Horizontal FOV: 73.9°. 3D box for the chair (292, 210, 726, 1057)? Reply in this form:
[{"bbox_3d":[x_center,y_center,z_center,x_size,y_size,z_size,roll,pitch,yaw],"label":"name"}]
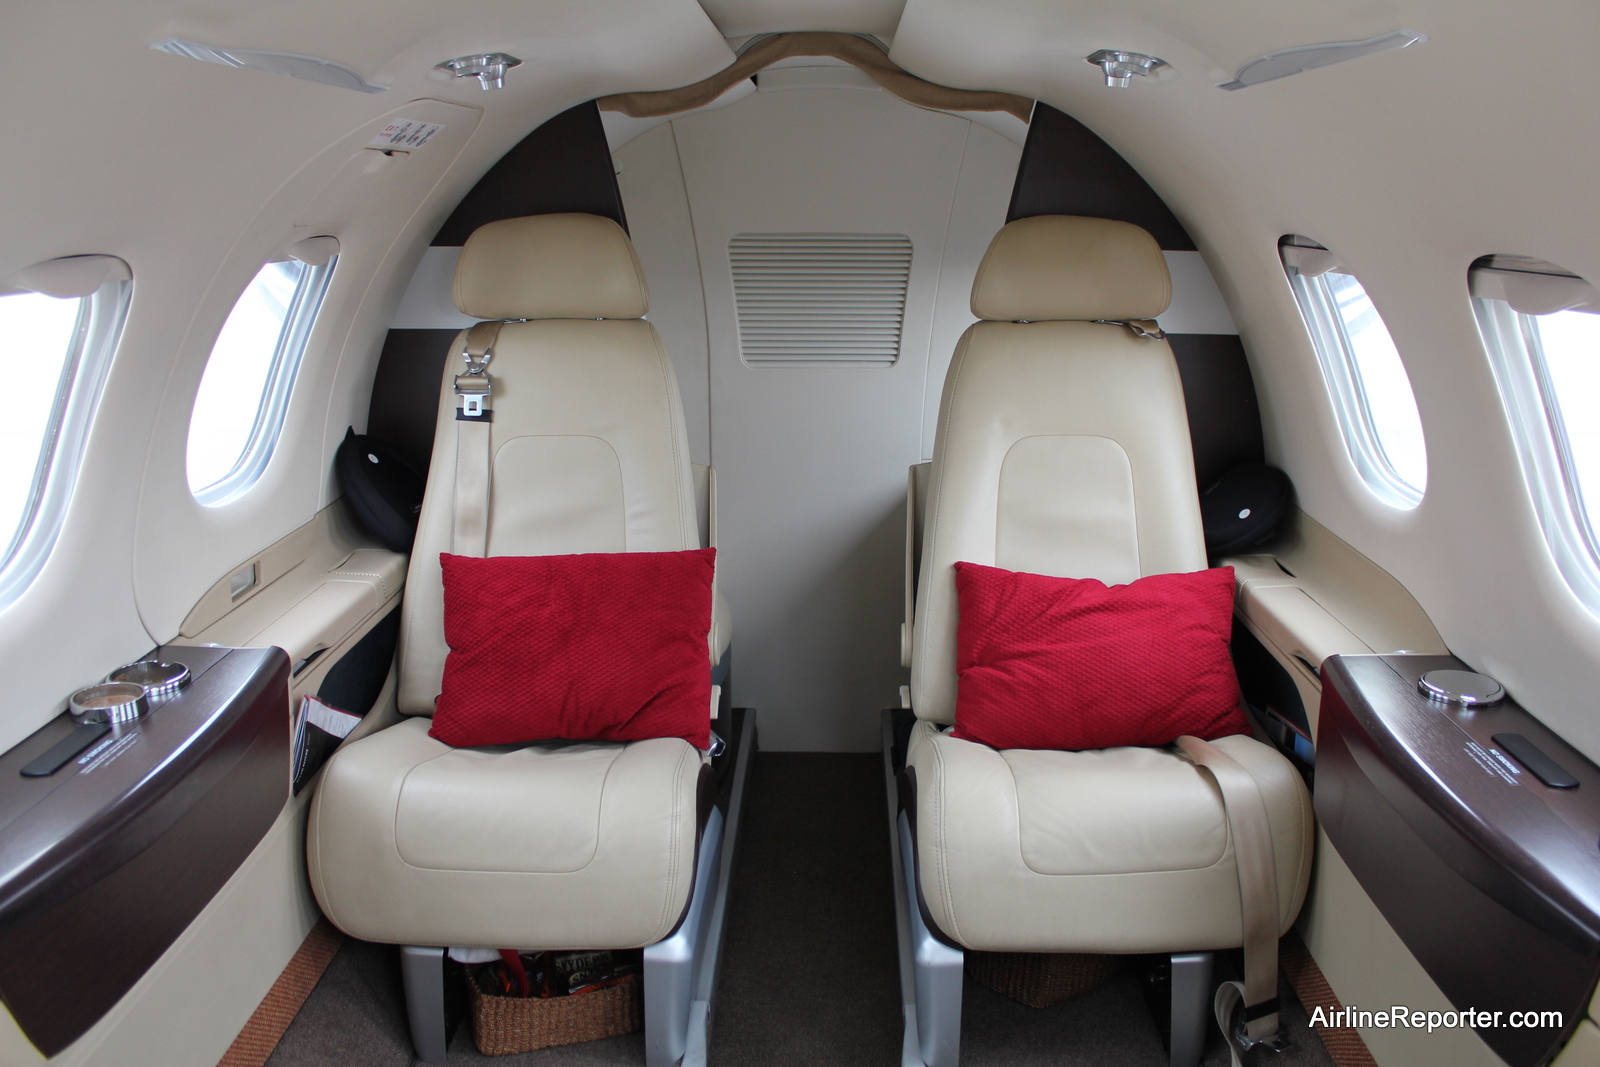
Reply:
[{"bbox_3d":[-0.660,0.209,2.730,0.958,2.081,0.850,2,7,1],"label":"chair"}]

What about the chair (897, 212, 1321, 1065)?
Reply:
[{"bbox_3d":[0.738,0.218,2.645,0.938,2.051,0.746,2,7,0],"label":"chair"}]

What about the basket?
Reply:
[{"bbox_3d":[-0.601,1.106,2.615,0.336,0.128,0.260,-2,1,-24],"label":"basket"}]
